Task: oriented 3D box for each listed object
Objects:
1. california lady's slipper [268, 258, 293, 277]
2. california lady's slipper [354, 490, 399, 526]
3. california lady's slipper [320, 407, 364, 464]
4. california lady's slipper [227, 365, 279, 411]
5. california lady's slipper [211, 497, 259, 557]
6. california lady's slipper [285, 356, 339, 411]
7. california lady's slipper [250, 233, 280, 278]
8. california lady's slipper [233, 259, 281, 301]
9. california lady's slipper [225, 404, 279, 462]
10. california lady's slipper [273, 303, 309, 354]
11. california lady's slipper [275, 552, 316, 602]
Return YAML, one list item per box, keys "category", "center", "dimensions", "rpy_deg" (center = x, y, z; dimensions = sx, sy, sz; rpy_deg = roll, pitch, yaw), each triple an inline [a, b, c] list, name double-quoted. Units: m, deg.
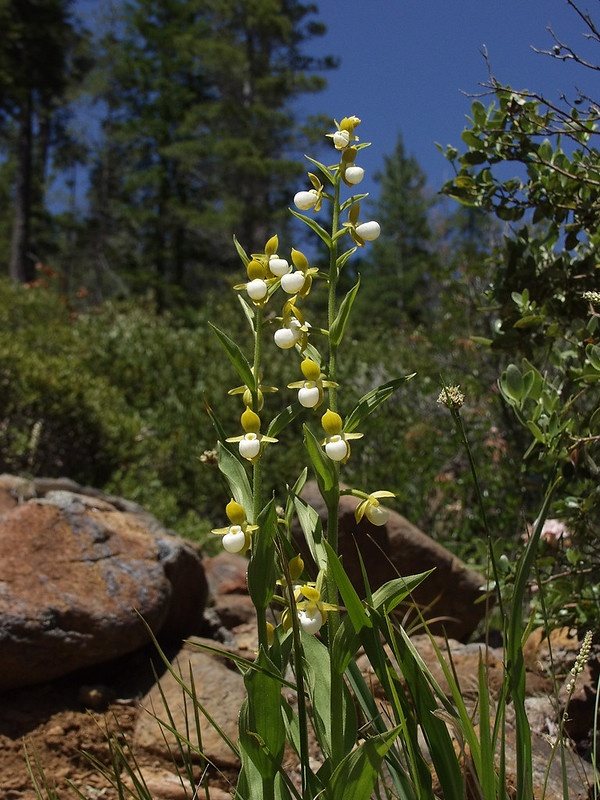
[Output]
- category: "california lady's slipper"
  center: [-0.056, -0.380, 2.476]
  dimensions: [0.049, 0.049, 0.064]
  rpy_deg: [-34, 4, 1]
- category: "california lady's slipper"
  center: [0.218, 0.312, 2.551]
  dimensions: [0.089, 0.114, 0.305]
  rpy_deg: [9, -10, 5]
- category: "california lady's slipper"
  center: [0.102, 0.094, 2.389]
  dimensions: [0.121, 0.142, 0.110]
  rpy_deg: [0, 3, -42]
- category: "california lady's slipper"
  center: [-0.118, -0.033, 2.586]
  dimensions: [0.179, 0.145, 0.170]
  rpy_deg: [1, -9, -15]
- category: "california lady's slipper"
  center: [-0.180, 0.347, 2.375]
  dimensions: [0.150, 0.149, 0.091]
  rpy_deg: [-10, 0, 17]
- category: "california lady's slipper"
  center: [0.033, -0.054, 2.441]
  dimensions: [0.136, 0.147, 0.085]
  rpy_deg: [-3, 2, 24]
- category: "california lady's slipper"
  center: [-0.109, -0.429, 2.553]
  dimensions: [0.084, 0.133, 0.039]
  rpy_deg: [23, -19, 3]
- category: "california lady's slipper"
  center: [-0.127, -0.351, 2.496]
  dimensions: [0.134, 0.134, 0.088]
  rpy_deg: [1, -35, 8]
- category: "california lady's slipper"
  center: [-0.138, 0.097, 2.423]
  dimensions: [0.140, 0.142, 0.093]
  rpy_deg: [-1, -2, 25]
- category: "california lady's slipper"
  center: [-0.028, -0.214, 2.512]
  dimensions: [0.095, 0.131, 0.160]
  rpy_deg: [7, -3, -29]
- category: "california lady's slipper"
  center: [-0.008, 0.506, 2.411]
  dimensions: [0.154, 0.137, 0.077]
  rpy_deg: [-3, 16, 9]
